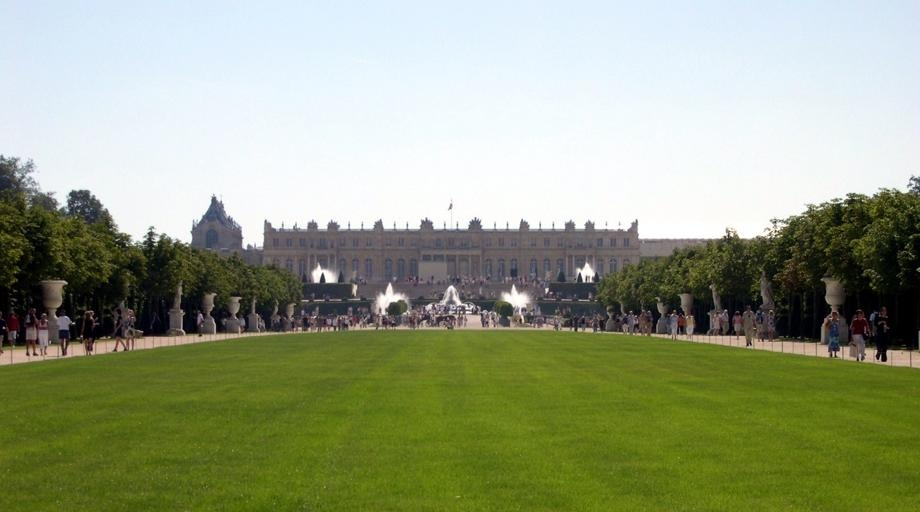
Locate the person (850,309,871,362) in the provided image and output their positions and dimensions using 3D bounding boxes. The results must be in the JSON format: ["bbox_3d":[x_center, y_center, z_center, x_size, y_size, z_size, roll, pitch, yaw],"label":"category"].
[{"bbox_3d":[18.716,3.713,40.723,0.615,2.459,1.384,4,9,23],"label":"person"}]
